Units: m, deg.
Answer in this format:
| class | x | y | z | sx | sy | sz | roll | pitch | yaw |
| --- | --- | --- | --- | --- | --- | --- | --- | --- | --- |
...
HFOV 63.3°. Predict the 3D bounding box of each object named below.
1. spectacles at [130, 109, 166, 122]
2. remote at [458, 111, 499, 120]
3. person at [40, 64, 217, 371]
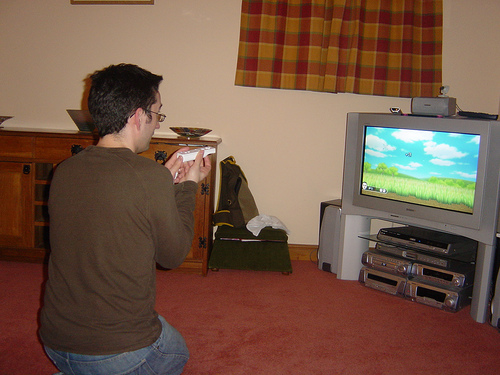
| class | x | y | z | sx | sy | sz | roll | pitch | yaw |
| --- | --- | --- | --- | --- | --- | --- | --- | --- | --- |
| spectacles | -0.396 | -0.276 | 1.549 | 0.105 | 0.030 | 0.101 | -2 | 10 | -33 |
| remote | 1.745 | -0.559 | 3.131 | 0.269 | 0.043 | 0.179 | 11 | 16 | 31 |
| person | -0.442 | 0.138 | 1.533 | 0.677 | 1.164 | 0.353 | -6 | 15 | -30 |
